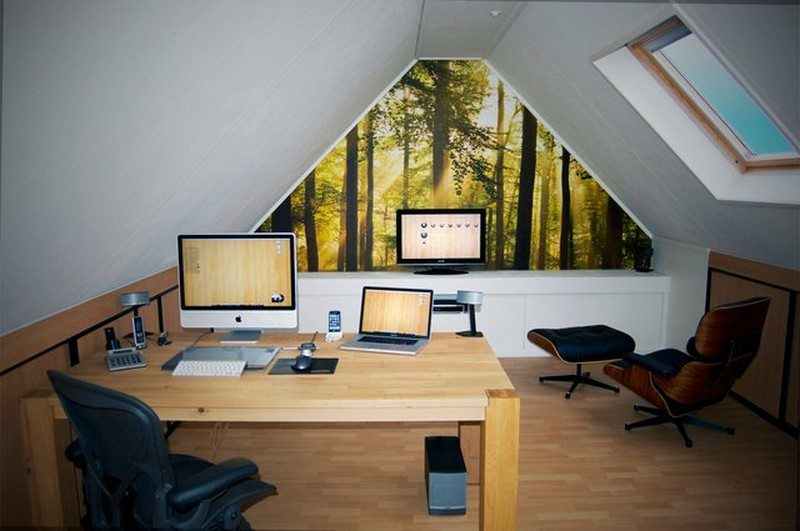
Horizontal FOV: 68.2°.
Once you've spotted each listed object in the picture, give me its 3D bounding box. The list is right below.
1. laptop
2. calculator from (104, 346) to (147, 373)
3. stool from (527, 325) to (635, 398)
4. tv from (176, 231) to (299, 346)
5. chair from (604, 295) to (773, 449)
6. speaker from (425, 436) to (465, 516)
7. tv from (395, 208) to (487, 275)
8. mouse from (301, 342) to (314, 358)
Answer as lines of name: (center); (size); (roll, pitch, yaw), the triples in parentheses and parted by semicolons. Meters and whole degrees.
laptop: (-0.039, 0.397, 4.355); (0.541, 0.336, 0.499); (2, 10, 12)
calculator: (-1.876, 0.631, 4.020); (0.159, 0.069, 0.209); (-2, 5, -34)
stool: (1.766, 0.910, 5.800); (0.906, 0.567, 0.635); (-2, 11, -17)
tv: (-1.195, 0.146, 4.403); (0.861, 0.786, 0.188); (0, 8, -3)
chair: (2.435, 0.807, 5.080); (1.010, 1.259, 1.168); (-5, 10, -20)
speaker: (0.370, 1.560, 4.287); (0.255, 0.302, 0.471); (0, 4, 11)
tv: (0.468, -0.268, 6.735); (1.025, 0.738, 0.282); (0, 4, 12)
mouse: (-0.636, 0.589, 4.137); (0.061, 0.107, 0.106); (2, 15, 2)
